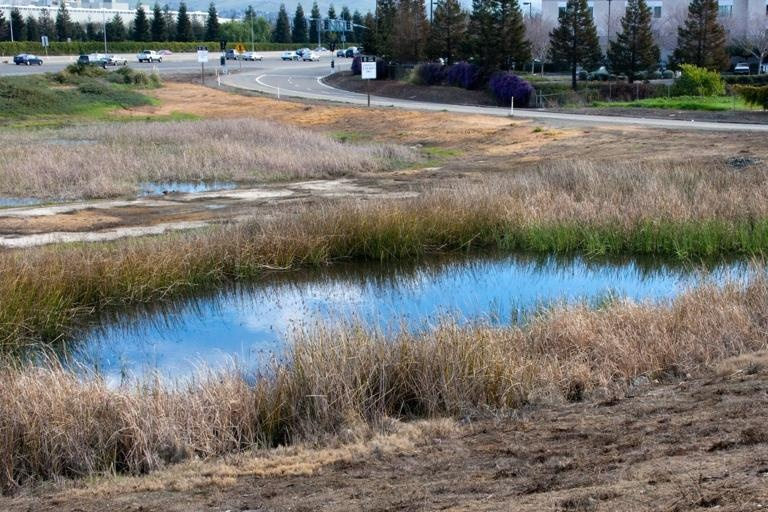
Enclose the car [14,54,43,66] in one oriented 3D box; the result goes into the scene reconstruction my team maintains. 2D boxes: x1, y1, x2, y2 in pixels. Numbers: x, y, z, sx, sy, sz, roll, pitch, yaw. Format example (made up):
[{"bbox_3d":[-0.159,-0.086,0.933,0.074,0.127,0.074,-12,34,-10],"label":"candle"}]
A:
[{"bbox_3d":[-31.996,-17.919,107.451,2.227,0.887,3.175,-2,10,-15],"label":"car"}]
